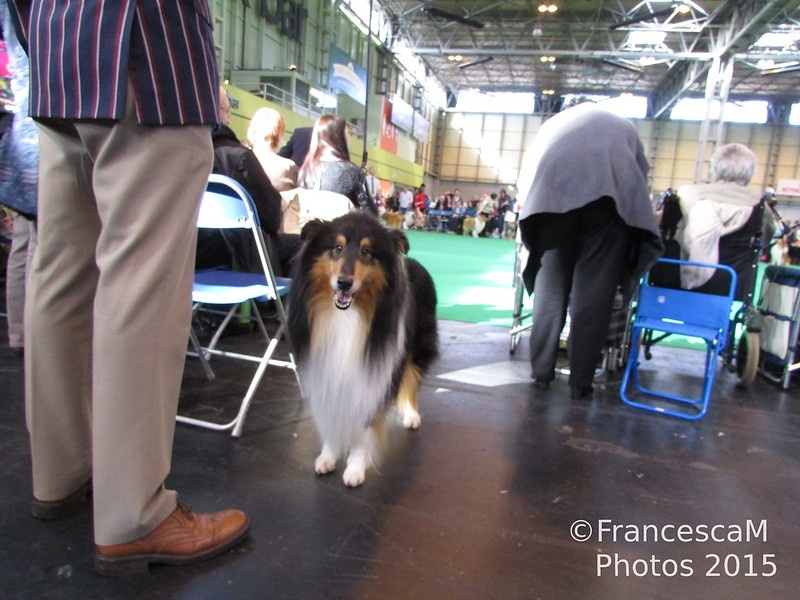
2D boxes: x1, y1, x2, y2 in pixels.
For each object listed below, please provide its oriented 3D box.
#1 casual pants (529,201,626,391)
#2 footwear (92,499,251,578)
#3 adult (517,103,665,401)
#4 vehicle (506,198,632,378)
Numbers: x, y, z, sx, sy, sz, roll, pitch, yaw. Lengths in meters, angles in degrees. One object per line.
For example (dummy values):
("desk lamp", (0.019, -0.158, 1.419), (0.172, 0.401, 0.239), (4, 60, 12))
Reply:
("casual pants", (1.204, -0.180, 3.867), (0.595, 1.669, 0.422), (9, 24, 23))
("footwear", (-0.810, 0.894, 2.104), (0.518, 0.287, 0.195), (-6, 9, -27))
("adult", (1.313, -0.424, 3.986), (0.824, 2.122, 0.985), (3, -17, 25))
("vehicle", (1.220, -0.192, 3.922), (0.607, 1.585, 0.457), (10, 36, 19))
